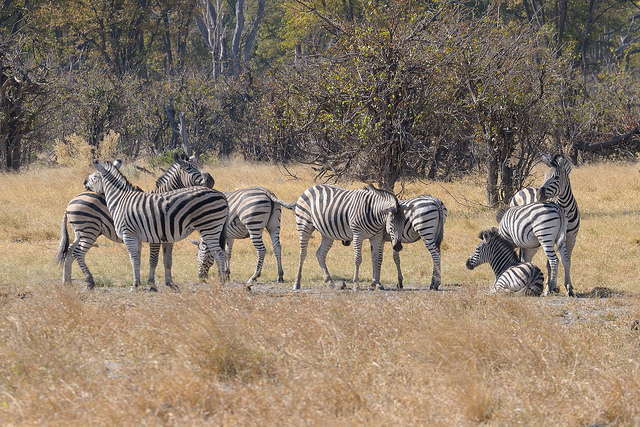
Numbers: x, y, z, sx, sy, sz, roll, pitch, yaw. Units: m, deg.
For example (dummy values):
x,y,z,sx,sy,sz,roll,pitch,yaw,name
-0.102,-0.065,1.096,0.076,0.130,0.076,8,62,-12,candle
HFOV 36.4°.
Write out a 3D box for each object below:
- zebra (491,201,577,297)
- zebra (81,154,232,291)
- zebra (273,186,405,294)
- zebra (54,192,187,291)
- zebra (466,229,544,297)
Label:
x,y,z,sx,sy,sz,roll,pitch,yaw,name
6.431,0.958,31.288,1.187,3.294,3.991,12,-10,-32,zebra
-5.422,0.440,31.737,4.283,3.962,1.434,2,4,8,zebra
0.499,0.693,32.268,5.340,3.380,1.704,2,4,36,zebra
-6.168,0.580,30.827,4.795,3.531,1.332,2,18,26,zebra
6.026,1.438,30.816,1.048,2.181,3.285,-3,15,-36,zebra
